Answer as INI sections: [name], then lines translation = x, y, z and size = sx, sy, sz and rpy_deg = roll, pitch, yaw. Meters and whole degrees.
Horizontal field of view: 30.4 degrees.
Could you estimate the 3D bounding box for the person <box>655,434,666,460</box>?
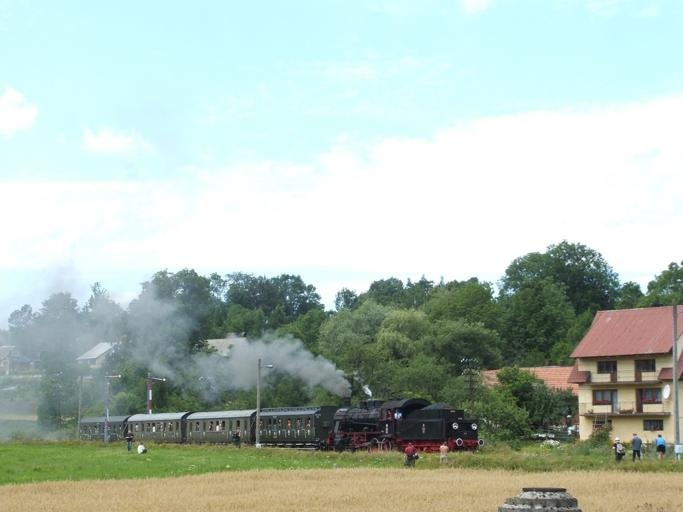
[person]
translation = 24.100, 14.340, 94.603
size = 0.562, 1.713, 1.976
rpy_deg = -2, -12, 10
